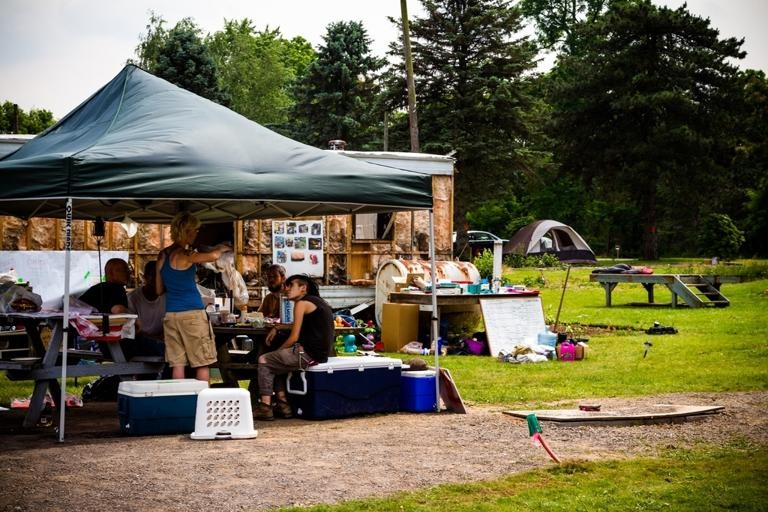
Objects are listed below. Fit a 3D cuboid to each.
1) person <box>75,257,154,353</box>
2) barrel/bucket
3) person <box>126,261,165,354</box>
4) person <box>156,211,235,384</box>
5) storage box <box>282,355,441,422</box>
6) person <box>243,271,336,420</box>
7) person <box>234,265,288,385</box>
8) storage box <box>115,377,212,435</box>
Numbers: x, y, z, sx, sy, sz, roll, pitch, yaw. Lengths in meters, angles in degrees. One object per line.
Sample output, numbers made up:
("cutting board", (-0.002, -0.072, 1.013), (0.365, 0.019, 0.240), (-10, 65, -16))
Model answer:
("person", (-3.937, 0.660, 14.072), (1.559, 1.626, 0.773), (5, -3, -8))
("barrel/bucket", (0.996, 0.791, 21.271), (2.530, 1.354, 1.699), (-2, 5, -29))
("person", (-3.570, 0.760, 14.359), (0.724, 1.383, 0.572), (6, -5, -3))
("person", (-2.688, 0.590, 13.556), (1.020, 2.307, 0.744), (0, 0, 19))
("storage box", (-0.298, 2.026, 14.011), (1.645, 0.983, 1.575), (0, 0, -22))
("person", (-1.325, 1.326, 13.998), (1.182, 2.082, 0.791), (-2, -3, 3))
("person", (-1.922, 1.044, 14.910), (1.039, 1.751, 0.798), (-1, -2, 29))
("storage box", (-2.984, 2.052, 12.884), (1.083, 0.550, 0.721), (2, -5, -28))
